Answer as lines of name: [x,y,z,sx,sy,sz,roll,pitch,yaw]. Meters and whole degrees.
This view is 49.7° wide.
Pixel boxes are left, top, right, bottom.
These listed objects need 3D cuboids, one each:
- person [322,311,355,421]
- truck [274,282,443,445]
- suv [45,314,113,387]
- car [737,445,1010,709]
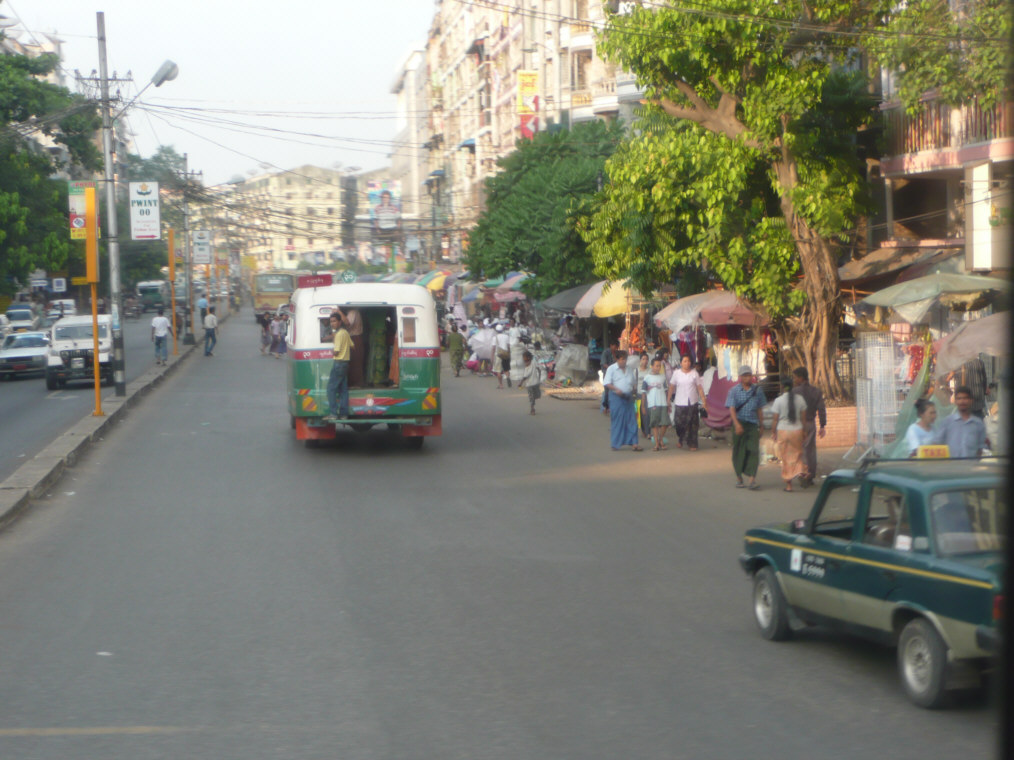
person: [-3.085,-0.223,20.121,0.450,2.030,0.457,-3,5,-29]
truck: [-2.800,-0.361,21.220,2.682,3.349,2.458,-1,5,-14]
suv: [-13.728,-0.948,35.664,1.517,1.774,3.262,-1,-3,-10]
car: [3.124,1.410,8.973,1.127,1.197,2.320,-1,7,-24]
